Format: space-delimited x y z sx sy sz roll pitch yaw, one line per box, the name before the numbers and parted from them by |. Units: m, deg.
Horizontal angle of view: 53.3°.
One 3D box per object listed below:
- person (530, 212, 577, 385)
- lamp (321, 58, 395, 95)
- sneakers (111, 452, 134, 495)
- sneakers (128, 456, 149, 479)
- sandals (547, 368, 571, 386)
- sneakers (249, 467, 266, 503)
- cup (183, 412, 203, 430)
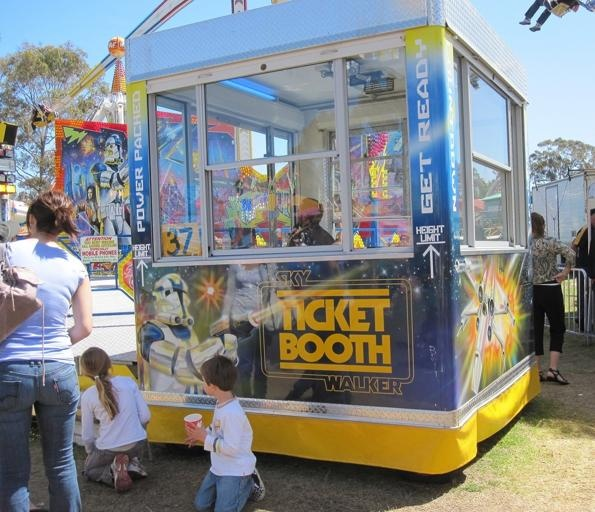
person | 2.747 0.458 6.427 0.418 1.835 1.409 0 3 24
lamp | 0.566 -1.307 4.346 0.310 0.160 0.525 0 4 26
sneakers | -1.194 1.485 4.076 0.109 0.231 0.144 -3 3 -26
sneakers | -1.129 1.518 4.265 0.144 0.172 0.103 14 -12 -17
sandals | 2.800 1.308 6.378 0.251 0.201 0.106 3 -1 2
sneakers | -0.255 1.487 3.840 0.085 0.230 0.079 17 35 23
cup | -0.671 1.052 3.825 0.114 0.110 0.129 1 0 -1
